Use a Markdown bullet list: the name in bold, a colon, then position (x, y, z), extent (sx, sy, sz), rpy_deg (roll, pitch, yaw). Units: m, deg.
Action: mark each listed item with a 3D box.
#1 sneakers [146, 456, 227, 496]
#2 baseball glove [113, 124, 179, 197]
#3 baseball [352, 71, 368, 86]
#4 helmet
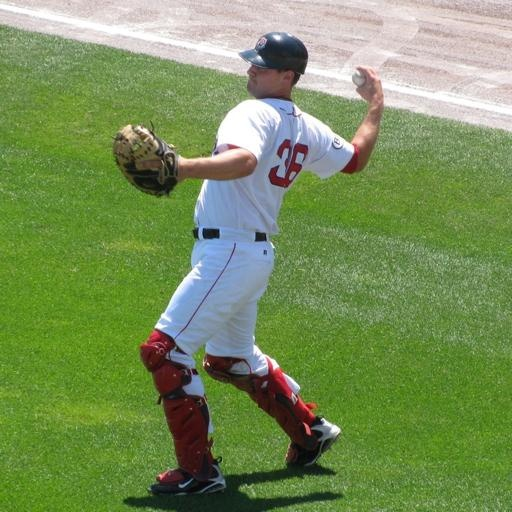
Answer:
- **sneakers**: position (-0.504, 1.682, 9.578), extent (0.635, 0.285, 0.207), rpy_deg (3, -3, -7)
- **baseball glove**: position (-0.805, -0.654, 9.105), extent (0.530, 0.402, 0.238), rpy_deg (54, 28, 11)
- **baseball**: position (0.802, -1.367, 10.002), extent (0.116, 0.127, 0.112), rpy_deg (-5, 11, -2)
- **helmet**: position (0.136, -1.456, 9.452), extent (0.437, 0.203, 0.301), rpy_deg (11, 18, -15)
